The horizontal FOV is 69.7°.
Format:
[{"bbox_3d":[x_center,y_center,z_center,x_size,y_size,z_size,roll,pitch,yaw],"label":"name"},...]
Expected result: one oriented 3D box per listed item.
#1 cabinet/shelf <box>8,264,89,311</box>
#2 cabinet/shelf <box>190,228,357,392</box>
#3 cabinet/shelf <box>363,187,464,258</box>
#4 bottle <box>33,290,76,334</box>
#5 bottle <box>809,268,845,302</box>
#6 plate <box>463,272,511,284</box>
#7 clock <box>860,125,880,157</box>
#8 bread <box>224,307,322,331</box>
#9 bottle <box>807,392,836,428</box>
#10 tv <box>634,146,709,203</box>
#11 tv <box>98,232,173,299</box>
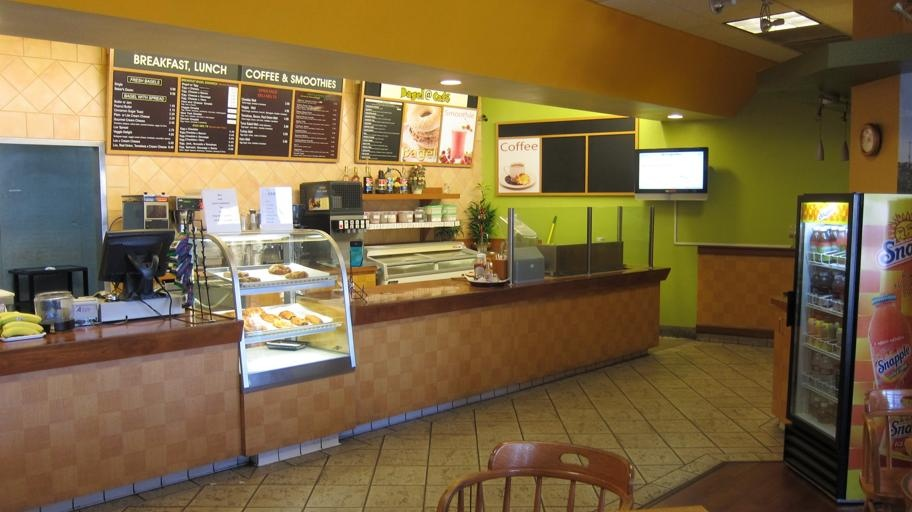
[{"bbox_3d":[-5.349,0.266,8.649,0.688,0.709,0.883,6,8,39],"label":"cabinet/shelf"},{"bbox_3d":[-2.073,0.446,7.509,2.062,1.824,1.735,-4,6,-38],"label":"cabinet/shelf"},{"bbox_3d":[-0.854,-0.625,10.766,1.714,0.861,0.491,-3,13,-33],"label":"cabinet/shelf"},{"bbox_3d":[-3.892,0.550,6.408,0.431,0.375,0.387,2,3,-6],"label":"bottle"},{"bbox_3d":[3.757,0.292,6.592,0.222,0.341,0.388,-2,4,-18],"label":"bottle"},{"bbox_3d":[0.332,0.302,8.436,0.608,0.118,0.398,2,10,30],"label":"plate"},{"bbox_3d":[5.048,-1.402,7.965,0.094,0.397,0.249,-6,9,-13],"label":"clock"},{"bbox_3d":[-1.805,0.637,6.928,0.873,0.272,0.121,-6,9,-22],"label":"bread"},{"bbox_3d":[3.777,1.579,6.758,0.315,0.248,0.307,0,5,0],"label":"bottle"},{"bbox_3d":[3.432,-1.293,10.349,1.098,0.676,0.103,2,4,14],"label":"tv"},{"bbox_3d":[-3.279,0.076,6.780,0.417,0.622,0.734,4,5,33],"label":"tv"}]
